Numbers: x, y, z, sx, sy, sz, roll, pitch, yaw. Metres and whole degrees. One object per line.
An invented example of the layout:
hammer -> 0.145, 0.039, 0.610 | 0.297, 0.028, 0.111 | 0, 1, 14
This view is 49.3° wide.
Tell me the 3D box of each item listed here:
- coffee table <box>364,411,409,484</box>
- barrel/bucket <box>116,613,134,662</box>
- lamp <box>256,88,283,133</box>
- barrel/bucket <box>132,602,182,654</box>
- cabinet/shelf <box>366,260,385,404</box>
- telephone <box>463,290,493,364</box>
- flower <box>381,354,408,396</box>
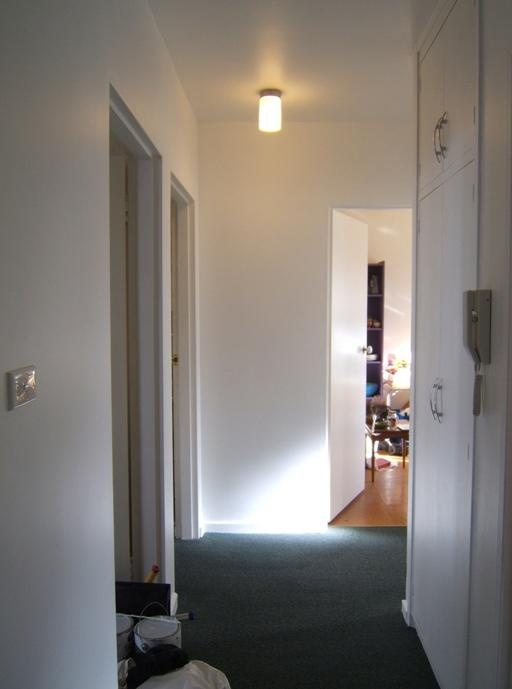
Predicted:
coffee table -> 1.115, 0.864, 4.534 | 0.253, 0.462, 0.520 | 9, 8, 21
barrel/bucket -> -0.450, 1.042, 1.984 | 0.071, 0.120, 0.110 | 3, -7, -3
lamp -> 0.073, -1.206, 2.944 | 0.127, 0.212, 0.193 | 0, 2, 1
barrel/bucket -> -0.353, 1.005, 2.003 | 0.104, 0.150, 0.104 | 2, -6, 0
cabinet/shelf -> 1.216, -0.336, 5.768 | 0.137, 1.056, 0.106 | 1, -11, 12
telephone -> 0.596, -0.048, 1.513 | 0.051, 0.251, 0.060 | -4, 31, 16
flower -> 1.401, 0.303, 5.720 | 0.226, 0.399, 0.392 | 2, 3, 41
